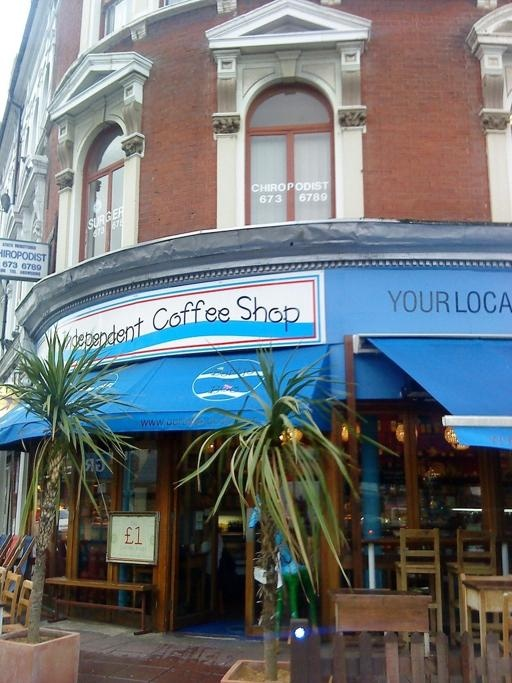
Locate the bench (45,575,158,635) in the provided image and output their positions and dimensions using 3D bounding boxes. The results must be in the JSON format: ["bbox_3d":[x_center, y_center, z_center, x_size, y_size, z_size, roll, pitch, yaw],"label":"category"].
[{"bbox_3d":[-2.251,3.594,9.397,2.608,0.645,0.690,-14,-16,42],"label":"bench"}]

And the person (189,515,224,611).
[{"bbox_3d":[-0.759,3.220,9.811,0.407,1.384,0.475,29,-44,-25],"label":"person"}]

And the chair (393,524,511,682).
[{"bbox_3d":[1.816,2.411,6.305,0.791,1.204,1.513,-2,-23,9],"label":"chair"}]
